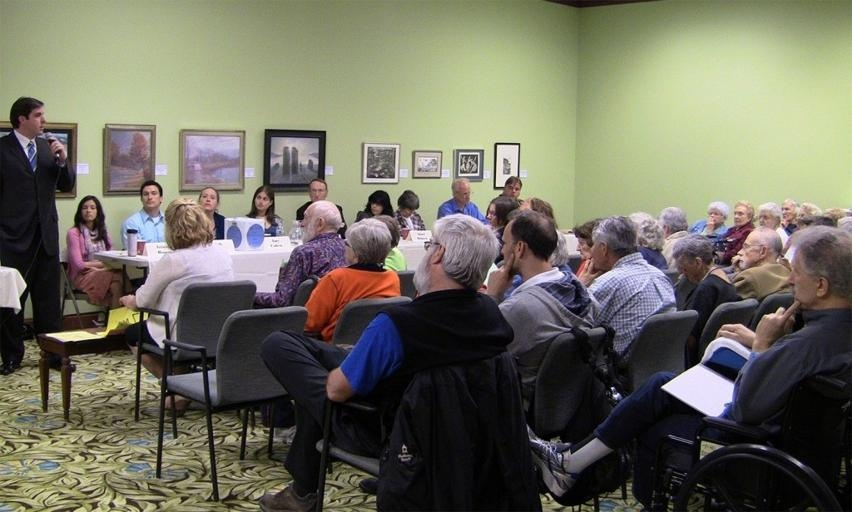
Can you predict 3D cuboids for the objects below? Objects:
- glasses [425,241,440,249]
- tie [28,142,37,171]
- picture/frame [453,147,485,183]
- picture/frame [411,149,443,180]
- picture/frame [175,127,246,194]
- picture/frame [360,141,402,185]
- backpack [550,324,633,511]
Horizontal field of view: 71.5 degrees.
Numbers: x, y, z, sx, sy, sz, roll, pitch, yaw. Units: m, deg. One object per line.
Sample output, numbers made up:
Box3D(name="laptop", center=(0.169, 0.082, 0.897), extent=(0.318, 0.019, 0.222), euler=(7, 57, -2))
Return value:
Box3D(name="glasses", center=(0.027, -0.056, 2.870), extent=(0.074, 0.022, 0.071), euler=(4, 3, 6))
Box3D(name="tie", center=(-3.846, -0.975, 5.770), extent=(0.078, 0.282, 0.067), euler=(-2, 10, -18))
Box3D(name="picture/frame", center=(0.706, -1.590, 10.264), extent=(0.766, 0.642, 0.077), euler=(-3, 5, -38))
Box3D(name="picture/frame", center=(-0.018, -1.530, 9.865), extent=(0.556, 0.448, 0.044), euler=(-3, 4, -35))
Box3D(name="picture/frame", center=(-2.991, -1.310, 8.070), extent=(1.036, 0.917, 0.106), euler=(-1, 1, -28))
Box3D(name="picture/frame", center=(-0.759, -1.484, 9.388), extent=(0.770, 0.661, 0.078), euler=(-1, 3, -35))
Box3D(name="backpack", center=(0.914, 0.974, 3.327), extent=(0.445, 1.146, 0.570), euler=(4, 10, 13))
